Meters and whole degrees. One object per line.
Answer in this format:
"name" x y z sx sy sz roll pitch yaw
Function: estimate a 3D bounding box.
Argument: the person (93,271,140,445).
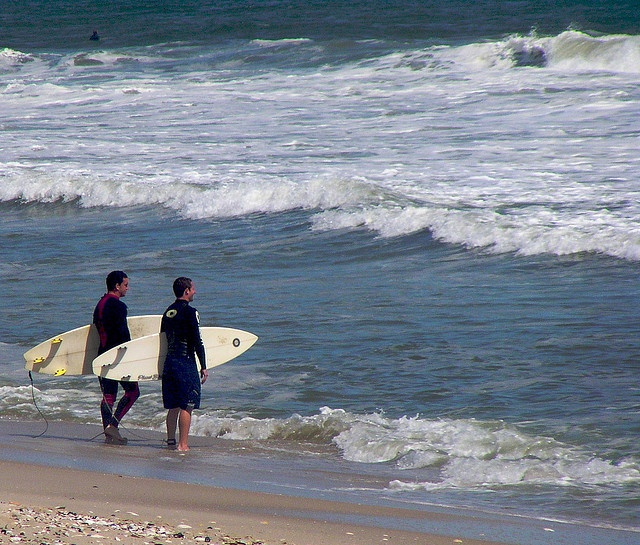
"person" -2.932 1.212 19.569 0.662 2.492 0.824 3 11 -17

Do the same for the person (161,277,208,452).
"person" -1.937 1.313 19.376 0.549 2.472 0.729 1 12 -24
